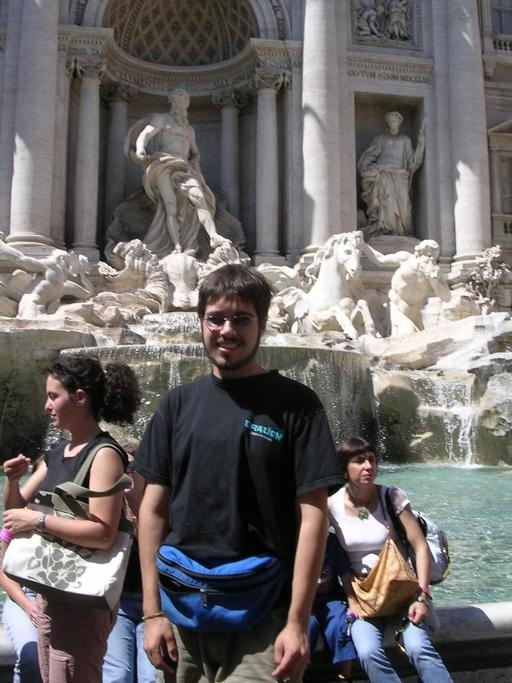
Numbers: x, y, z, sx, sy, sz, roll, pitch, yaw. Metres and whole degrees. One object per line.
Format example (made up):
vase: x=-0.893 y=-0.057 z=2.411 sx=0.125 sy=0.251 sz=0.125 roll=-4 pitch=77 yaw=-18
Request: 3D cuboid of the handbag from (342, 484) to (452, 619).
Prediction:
handbag: x=0.591 y=0.744 z=2.187 sx=0.439 sy=0.427 sz=0.278 roll=6 pitch=-46 yaw=-16

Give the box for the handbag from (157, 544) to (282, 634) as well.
handbag: x=-0.087 y=0.593 z=1.477 sx=0.309 sy=0.177 sz=0.119 roll=-1 pitch=-3 yaw=-1

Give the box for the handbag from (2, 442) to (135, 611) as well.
handbag: x=-0.499 y=0.472 z=1.600 sx=0.340 sy=0.386 sz=0.266 roll=0 pitch=-3 yaw=-11

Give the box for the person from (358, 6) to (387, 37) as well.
person: x=3.109 y=-8.664 z=16.812 sx=0.878 sy=0.845 sz=0.304 roll=-6 pitch=-13 yaw=-9
